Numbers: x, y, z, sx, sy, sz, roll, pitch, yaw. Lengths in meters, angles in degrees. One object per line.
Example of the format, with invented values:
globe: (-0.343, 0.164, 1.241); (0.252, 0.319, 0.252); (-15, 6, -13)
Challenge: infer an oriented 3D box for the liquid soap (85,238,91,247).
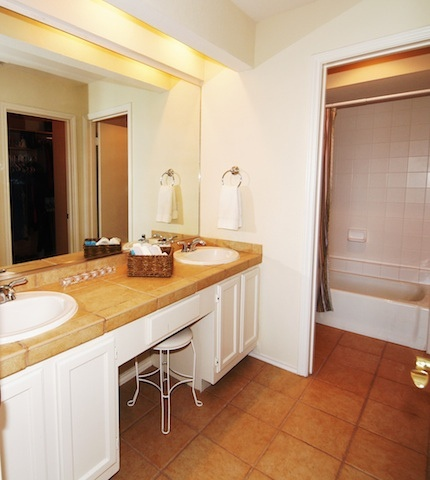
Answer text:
liquid soap: (-0.721, 0.011, 2.081); (0.039, 0.042, 0.029); (2, 14, -17)

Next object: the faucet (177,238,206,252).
faucet: (-0.191, 0.038, 2.686); (0.249, 0.113, 0.087); (-2, 1, 43)

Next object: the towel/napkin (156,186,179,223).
towel/napkin: (-0.352, -0.264, 2.651); (0.153, 0.311, 0.165); (10, 22, 21)

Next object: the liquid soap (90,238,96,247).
liquid soap: (-0.699, 0.010, 2.116); (0.025, 0.035, 0.035); (4, 1, 18)

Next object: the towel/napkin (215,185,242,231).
towel/napkin: (0.099, -0.230, 2.668); (0.171, 0.324, 0.162); (1, 11, 5)

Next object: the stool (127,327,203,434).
stool: (-0.229, 0.776, 2.118); (0.316, 0.418, 0.376); (-11, 0, 15)

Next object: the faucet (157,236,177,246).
faucet: (-0.347, 0.003, 2.641); (0.097, 0.043, 0.056); (2, 5, 29)
